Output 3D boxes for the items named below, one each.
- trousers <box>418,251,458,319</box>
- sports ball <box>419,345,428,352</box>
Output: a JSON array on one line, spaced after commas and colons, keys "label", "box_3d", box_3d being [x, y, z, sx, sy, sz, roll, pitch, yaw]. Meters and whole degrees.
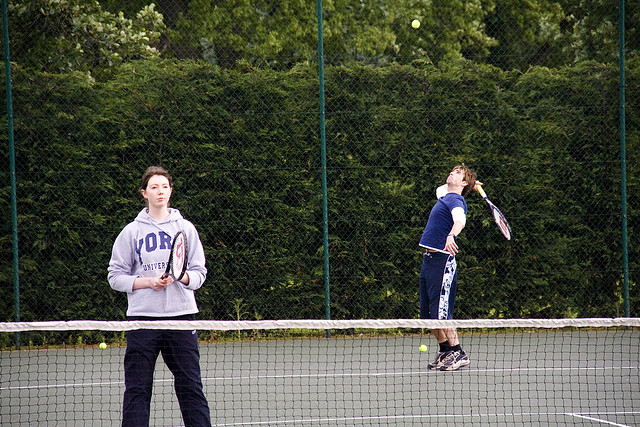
[{"label": "trousers", "box_3d": [1.710, 1.059, 10.653, 0.528, 1.073, 0.402, 2, 12, 13]}, {"label": "sports ball", "box_3d": [1.598, 2.074, 11.243, 0.121, 0.132, 0.127, 5, -30, 3]}]
